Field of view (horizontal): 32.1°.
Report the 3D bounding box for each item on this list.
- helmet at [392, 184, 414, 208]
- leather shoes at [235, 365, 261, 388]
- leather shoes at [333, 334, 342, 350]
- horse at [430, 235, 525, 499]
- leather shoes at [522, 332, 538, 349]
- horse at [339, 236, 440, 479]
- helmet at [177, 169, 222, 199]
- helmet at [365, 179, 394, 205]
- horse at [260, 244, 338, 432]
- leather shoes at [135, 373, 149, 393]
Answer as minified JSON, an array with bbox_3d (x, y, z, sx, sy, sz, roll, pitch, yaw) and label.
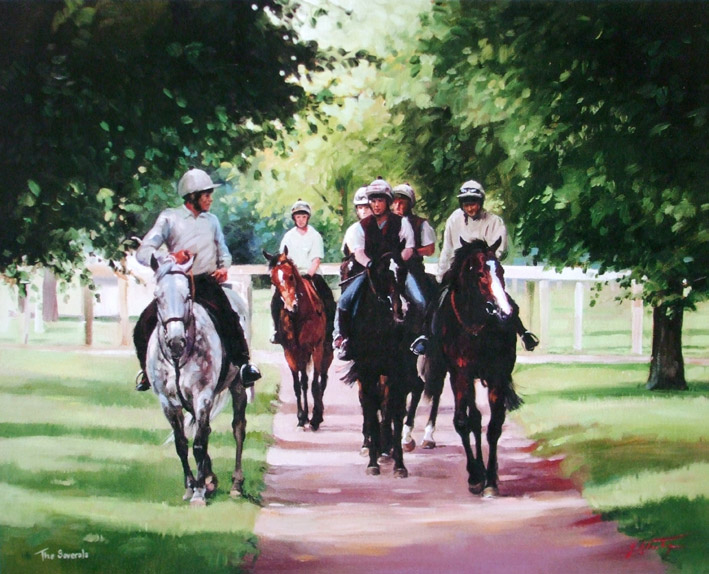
[{"bbox_3d":[0.677,-1.208,16.334,0.231,0.256,0.298,7,6,43],"label":"helmet"},{"bbox_3d":[-1.281,1.056,14.901,0.244,0.307,0.118,-6,4,-15],"label":"leather shoes"},{"bbox_3d":[-0.183,0.683,15.566,0.065,0.203,0.137,11,-17,-42],"label":"leather shoes"},{"bbox_3d":[1.564,1.003,14.963,0.731,3.095,1.307,0,-1,-25],"label":"horse"},{"bbox_3d":[2.157,0.675,15.182,0.157,0.227,0.071,-25,8,-11],"label":"leather shoes"},{"bbox_3d":[0.396,0.990,15.338,0.933,2.763,0.924,-1,-1,2],"label":"horse"},{"bbox_3d":[-1.900,-1.254,15.006,0.397,0.227,0.312,-12,11,5],"label":"helmet"},{"bbox_3d":[0.308,-1.212,15.708,0.233,0.283,0.313,1,7,11],"label":"helmet"},{"bbox_3d":[-0.737,0.754,17.389,0.687,2.461,1.279,-1,-1,18],"label":"horse"},{"bbox_3d":[-2.575,1.162,15.065,0.180,0.248,0.109,-6,0,-40],"label":"leather shoes"}]
